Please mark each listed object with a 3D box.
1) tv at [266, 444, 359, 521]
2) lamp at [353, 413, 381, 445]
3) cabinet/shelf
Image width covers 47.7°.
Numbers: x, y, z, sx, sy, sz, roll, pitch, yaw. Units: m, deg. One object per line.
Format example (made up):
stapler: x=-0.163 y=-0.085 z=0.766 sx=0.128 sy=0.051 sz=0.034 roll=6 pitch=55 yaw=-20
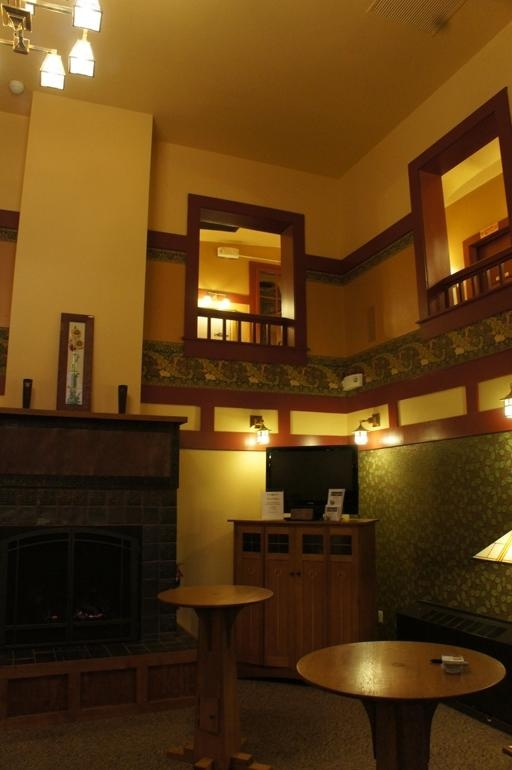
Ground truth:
tv: x=0.496 y=0.847 z=4.914 sx=0.576 sy=0.544 sz=0.158 roll=-1 pitch=-7 yaw=16
lamp: x=0.985 y=0.409 z=5.241 sx=0.189 sy=0.300 sz=0.354 roll=2 pitch=-7 yaw=-5
cabinet/shelf: x=0.329 y=1.478 z=4.025 sx=1.067 sy=1.342 sz=0.540 roll=-4 pitch=-13 yaw=19
